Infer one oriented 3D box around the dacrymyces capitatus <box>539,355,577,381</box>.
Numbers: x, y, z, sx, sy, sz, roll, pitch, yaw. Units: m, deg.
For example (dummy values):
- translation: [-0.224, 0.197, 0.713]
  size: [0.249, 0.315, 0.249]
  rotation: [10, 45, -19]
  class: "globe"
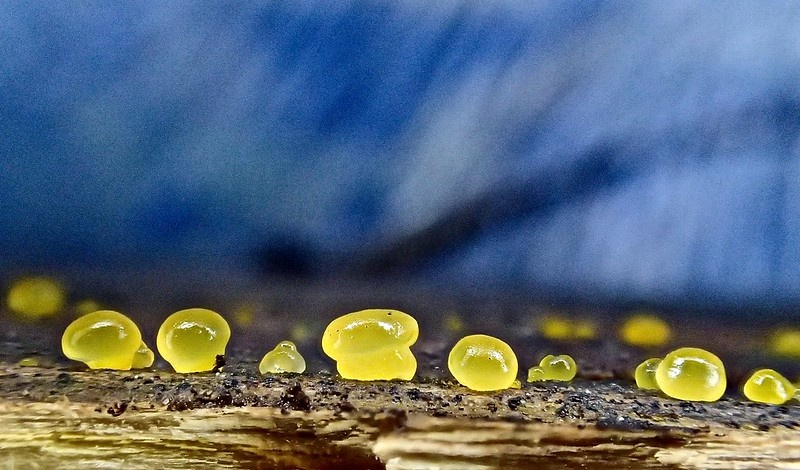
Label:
- translation: [1.490, 1.236, 8.935]
  size: [0.353, 0.075, 0.243]
  rotation: [2, 69, -1]
  class: "dacrymyces capitatus"
